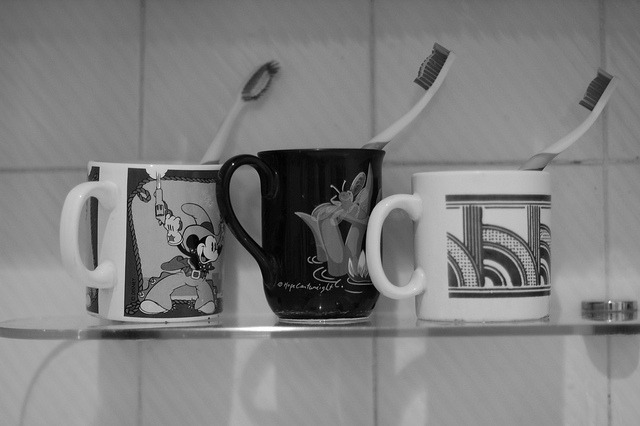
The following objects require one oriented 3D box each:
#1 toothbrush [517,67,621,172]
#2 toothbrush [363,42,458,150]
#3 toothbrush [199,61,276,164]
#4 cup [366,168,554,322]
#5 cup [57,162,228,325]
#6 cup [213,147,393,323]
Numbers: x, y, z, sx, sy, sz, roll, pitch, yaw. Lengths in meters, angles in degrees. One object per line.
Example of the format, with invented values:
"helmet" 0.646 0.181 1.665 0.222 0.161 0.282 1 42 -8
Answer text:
"toothbrush" 0.298 -0.117 1.001 0.039 0.157 0.024 44 -7 -20
"toothbrush" 0.107 -0.139 1.004 0.030 0.152 0.023 36 2 -33
"toothbrush" -0.100 -0.119 0.999 0.023 0.159 0.014 30 -30 2
"cup" 0.162 0.042 0.971 0.231 0.154 0.140 -3 -4 12
"cup" -0.230 0.036 0.944 0.162 0.176 0.241 -2 -2 22
"cup" -0.020 0.027 0.975 0.231 0.197 0.142 1 -2 8
